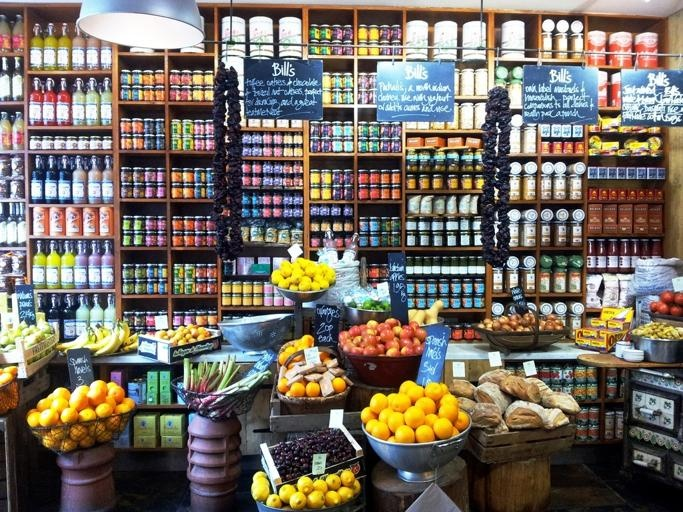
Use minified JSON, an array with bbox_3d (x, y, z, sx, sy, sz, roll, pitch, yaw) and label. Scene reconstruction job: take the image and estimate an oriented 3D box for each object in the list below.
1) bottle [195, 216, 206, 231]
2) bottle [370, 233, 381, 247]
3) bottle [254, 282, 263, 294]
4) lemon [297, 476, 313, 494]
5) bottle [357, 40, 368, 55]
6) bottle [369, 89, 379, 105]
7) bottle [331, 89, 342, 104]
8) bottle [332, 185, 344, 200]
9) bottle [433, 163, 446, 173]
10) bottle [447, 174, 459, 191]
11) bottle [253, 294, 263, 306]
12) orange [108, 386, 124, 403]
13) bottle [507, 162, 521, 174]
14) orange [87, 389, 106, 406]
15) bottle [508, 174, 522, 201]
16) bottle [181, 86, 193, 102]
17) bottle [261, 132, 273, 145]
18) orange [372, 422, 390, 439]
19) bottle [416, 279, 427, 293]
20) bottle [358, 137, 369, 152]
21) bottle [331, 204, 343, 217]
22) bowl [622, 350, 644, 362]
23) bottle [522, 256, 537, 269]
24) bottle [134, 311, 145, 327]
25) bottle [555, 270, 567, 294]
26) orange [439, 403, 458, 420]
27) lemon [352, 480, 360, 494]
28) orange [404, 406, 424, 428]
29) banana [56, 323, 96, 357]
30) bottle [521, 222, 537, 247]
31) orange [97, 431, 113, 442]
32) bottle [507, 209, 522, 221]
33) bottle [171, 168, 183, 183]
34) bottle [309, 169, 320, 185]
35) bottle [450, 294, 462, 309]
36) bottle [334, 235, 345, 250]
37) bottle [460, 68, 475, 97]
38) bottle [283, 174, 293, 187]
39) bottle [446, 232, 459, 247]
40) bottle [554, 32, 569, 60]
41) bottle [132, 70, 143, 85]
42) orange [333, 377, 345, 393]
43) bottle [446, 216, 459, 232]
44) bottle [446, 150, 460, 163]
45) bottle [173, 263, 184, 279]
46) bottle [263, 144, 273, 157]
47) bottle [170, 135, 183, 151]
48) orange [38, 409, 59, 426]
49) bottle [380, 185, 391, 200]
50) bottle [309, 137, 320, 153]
[{"bbox_3d":[-1.313,-0.301,6.115,0.143,0.174,0.098,0,-2,-10],"label":"bottle"},{"bbox_3d":[0.321,-0.150,6.204,0.112,0.106,0.105,1,2,4],"label":"bottle"},{"bbox_3d":[-0.776,0.288,6.168,0.098,0.093,0.092,0,1,0],"label":"bottle"},{"bbox_3d":[-0.213,1.336,3.850,0.078,0.068,0.095,3,5,-4],"label":"lemon"},{"bbox_3d":[0.199,-1.934,6.057,0.091,0.158,0.209,-4,4,2],"label":"bottle"},{"bbox_3d":[0.285,-1.482,6.090,0.073,0.163,0.039,-4,4,-1],"label":"bottle"},{"bbox_3d":[-0.037,-1.484,6.112,0.121,0.118,0.113,1,4,-2],"label":"bottle"},{"bbox_3d":[-0.030,-0.594,6.146,0.114,0.125,0.033,-4,4,-4],"label":"bottle"},{"bbox_3d":[0.914,-0.824,6.083,0.108,0.064,0.063,-3,4,7],"label":"bottle"},{"bbox_3d":[1.054,-0.690,6.150,0.139,0.194,0.133,1,4,0],"label":"bottle"},{"bbox_3d":[-0.774,0.410,6.125,0.112,0.108,0.107,0,1,15],"label":"bottle"},{"bbox_3d":[-1.586,0.962,4.610,0.111,0.126,0.173,-5,4,-18],"label":"orange"},{"bbox_3d":[1.672,-0.836,6.239,0.093,0.125,0.218,-3,4,18],"label":"bottle"},{"bbox_3d":[-1.667,0.958,4.470,0.107,0.092,0.103,7,-4,27],"label":"orange"},{"bbox_3d":[1.680,-0.649,6.258,0.135,0.243,0.054,-7,5,-29],"label":"bottle"},{"bbox_3d":[-1.437,-1.502,6.084,0.141,0.136,0.131,1,1,-10],"label":"bottle"},{"bbox_3d":[-0.682,-1.084,6.056,0.115,0.109,0.108,1,3,-1],"label":"bottle"},{"bbox_3d":[0.242,1.048,3.982,0.092,0.094,0.088,3,-4,9],"label":"orange"},{"bbox_3d":[0.753,0.284,6.172,0.114,0.140,0.106,2,-1,0],"label":"bottle"},{"bbox_3d":[0.212,-1.037,6.066,0.127,0.121,0.120,2,4,5],"label":"bottle"},{"bbox_3d":[-0.029,-0.438,6.169,0.108,0.106,0.102,1,-2,8],"label":"bottle"},{"bbox_3d":[2.255,0.762,5.049,0.115,0.046,0.095,1,-1,0],"label":"bowl"},{"bbox_3d":[1.811,0.055,6.272,0.136,0.116,0.056,-4,4,-8],"label":"bottle"},{"bbox_3d":[-1.888,0.590,6.141,0.139,0.135,0.129,1,-1,-17],"label":"bottle"},{"bbox_3d":[2.131,0.236,6.326,0.146,0.214,0.056,-6,4,-20],"label":"bottle"},{"bbox_3d":[0.657,0.936,4.016,0.109,0.105,0.095,8,22,-20],"label":"orange"},{"bbox_3d":[0.094,1.385,3.948,0.074,0.080,0.069,2,-4,3],"label":"lemon"},{"bbox_3d":[0.441,0.956,3.913,0.118,0.123,0.111,-9,5,22],"label":"orange"},{"bbox_3d":[-2.167,0.675,5.368,0.253,0.161,0.085,-43,41,-18],"label":"banana"},{"bbox_3d":[1.808,-0.208,6.281,0.145,0.243,0.057,-4,4,6],"label":"bottle"},{"bbox_3d":[-1.623,1.226,4.504,0.093,0.085,0.034,-10,28,-19],"label":"orange"},{"bbox_3d":[1.695,-0.393,6.302,0.080,0.119,0.182,-2,5,31],"label":"bottle"},{"bbox_3d":[-1.537,-0.758,6.205,0.135,0.130,0.126,0,1,-23],"label":"bottle"},{"bbox_3d":[-0.242,-0.734,6.125,0.130,0.124,0.122,0,2,3],"label":"bottle"},{"bbox_3d":[1.090,0.430,6.198,0.126,0.123,0.117,2,-1,-13],"label":"bottle"},{"bbox_3d":[-0.022,-0.127,6.117,0.118,0.180,0.102,-1,-28,3],"label":"bottle"},{"bbox_3d":[1.185,-1.612,6.145,0.138,0.253,0.103,-4,4,7],"label":"bottle"},{"bbox_3d":[-0.496,-0.701,6.096,0.128,0.122,0.071,2,8,2],"label":"bottle"},{"bbox_3d":[1.051,-0.157,6.173,0.131,0.181,0.125,0,3,0],"label":"bottle"},{"bbox_3d":[2.073,-1.988,6.159,0.129,0.259,0.370,-3,4,18],"label":"bottle"},{"bbox_3d":[-1.885,-1.650,6.062,0.126,0.170,0.121,0,2,0],"label":"bottle"},{"bbox_3d":[-0.014,0.845,4.316,0.091,0.096,0.084,14,48,4],"label":"orange"},{"bbox_3d":[1.043,-0.303,6.167,0.137,0.113,0.112,1,3,8],"label":"bottle"},{"bbox_3d":[1.042,-0.913,6.074,0.111,0.115,0.047,-5,4,-12],"label":"bottle"},{"bbox_3d":[-1.526,0.139,6.152,0.121,0.121,0.118,2,-2,-44],"label":"bottle"},{"bbox_3d":[-0.678,-0.978,6.075,0.124,0.105,0.107,0,2,-11],"label":"bottle"},{"bbox_3d":[-1.535,-1.055,6.113,0.147,0.139,0.136,1,1,-12],"label":"bottle"},{"bbox_3d":[-1.932,1.063,4.326,0.110,0.095,0.106,7,22,17],"label":"orange"},{"bbox_3d":[0.421,-0.592,6.133,0.122,0.116,0.117,1,3,17],"label":"bottle"},{"bbox_3d":[-0.242,-1.029,6.102,0.127,0.125,0.118,1,2,-7],"label":"bottle"}]
